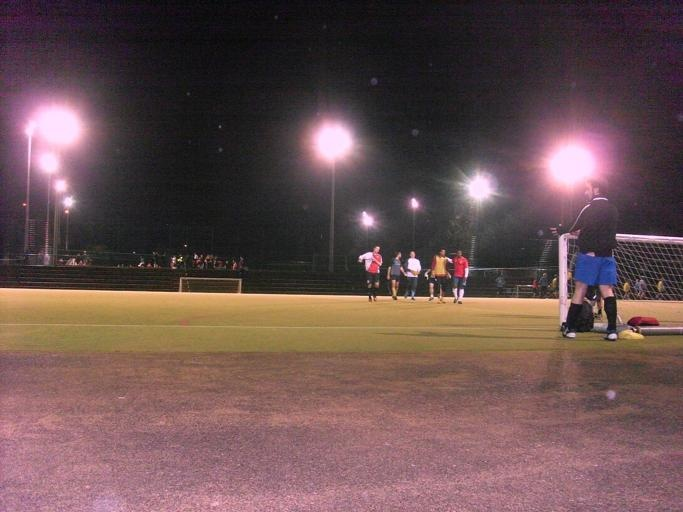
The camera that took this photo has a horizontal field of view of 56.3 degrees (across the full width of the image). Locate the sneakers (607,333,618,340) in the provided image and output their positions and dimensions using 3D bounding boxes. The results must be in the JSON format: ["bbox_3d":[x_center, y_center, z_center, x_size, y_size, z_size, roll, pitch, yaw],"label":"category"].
[{"bbox_3d":[4.242,1.243,10.030,0.166,0.124,0.297,0,1,22],"label":"sneakers"}]

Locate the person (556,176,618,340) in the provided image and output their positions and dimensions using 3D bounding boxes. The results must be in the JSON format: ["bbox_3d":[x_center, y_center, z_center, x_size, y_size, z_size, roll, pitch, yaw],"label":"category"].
[{"bbox_3d":[3.988,0.054,10.386,0.832,2.595,0.825,2,-5,8],"label":"person"}]
